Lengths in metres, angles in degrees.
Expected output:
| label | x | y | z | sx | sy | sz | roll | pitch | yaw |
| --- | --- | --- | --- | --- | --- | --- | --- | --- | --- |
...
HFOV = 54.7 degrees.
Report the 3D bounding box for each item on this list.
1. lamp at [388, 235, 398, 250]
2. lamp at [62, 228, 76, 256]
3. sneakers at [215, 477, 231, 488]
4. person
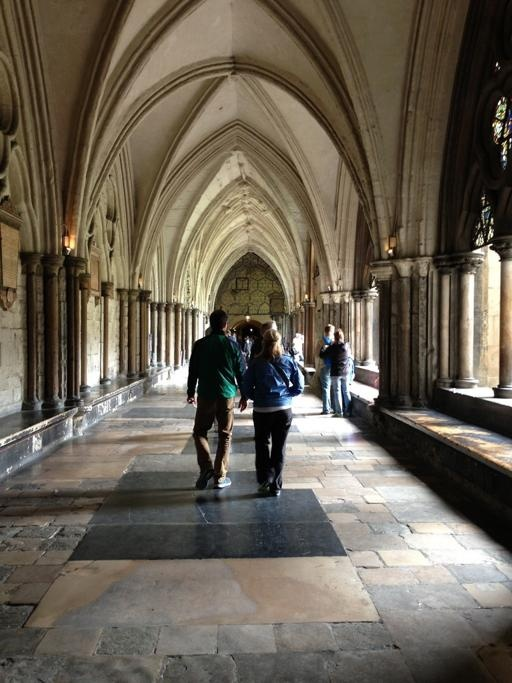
| label | x | y | z | sx | sy | sz | roll | pitch | yaw |
| --- | --- | --- | --- | --- | --- | --- | --- | --- | --- |
| lamp | 1.748 | -1.263 | 6.358 | 0.057 | 0.209 | 0.162 | -2 | 2 | -25 |
| lamp | -2.599 | -1.378 | 6.884 | 0.089 | 0.388 | 0.226 | 0 | 2 | 41 |
| sneakers | -0.251 | 1.076 | 3.747 | 0.049 | 0.064 | 0.150 | 1 | 5 | 9 |
| person | -0.096 | 0.453 | 3.704 | 0.891 | 1.369 | 0.462 | -1 | 2 | 14 |
